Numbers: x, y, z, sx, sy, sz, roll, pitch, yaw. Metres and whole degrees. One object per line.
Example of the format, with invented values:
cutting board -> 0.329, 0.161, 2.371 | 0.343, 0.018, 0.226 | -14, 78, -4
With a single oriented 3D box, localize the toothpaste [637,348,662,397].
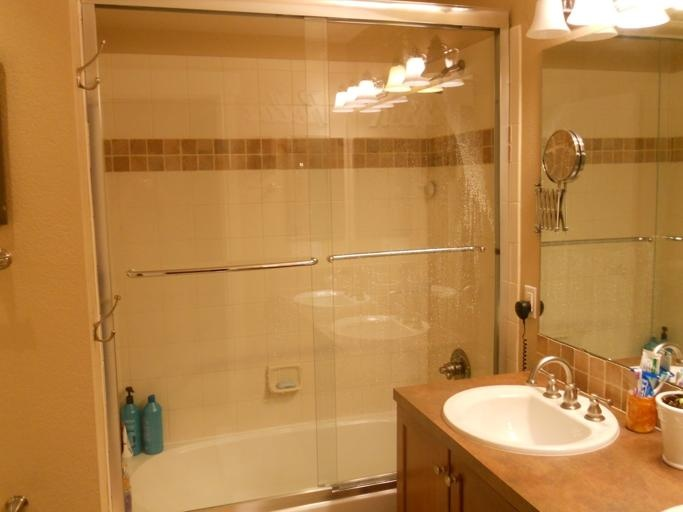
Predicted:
toothpaste -> 1.099, 0.417, 2.118 | 0.039, 0.222, 0.088 | -6, 15, -14

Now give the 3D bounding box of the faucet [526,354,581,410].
faucet -> 0.819, 0.476, 2.304 | 0.173, 0.182, 0.205 | 0, -3, -12

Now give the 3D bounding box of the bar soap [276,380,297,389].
bar soap -> -0.280, 0.647, 2.978 | 0.058, 0.023, 0.046 | -3, 2, -3

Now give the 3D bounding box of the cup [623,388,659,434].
cup -> 1.047, 0.536, 2.092 | 0.107, 0.146, 0.130 | 3, 7, 28

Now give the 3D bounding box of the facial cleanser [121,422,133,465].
facial cleanser -> -0.989, 0.865, 2.731 | 0.033, 0.157, 0.107 | -5, 8, 0
